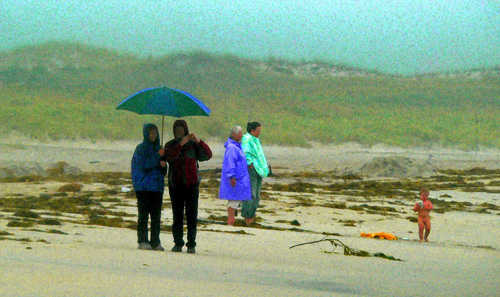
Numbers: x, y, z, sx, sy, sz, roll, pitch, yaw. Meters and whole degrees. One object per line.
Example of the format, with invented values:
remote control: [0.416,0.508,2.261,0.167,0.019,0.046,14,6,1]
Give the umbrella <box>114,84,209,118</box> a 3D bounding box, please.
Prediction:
umbrella: [-6.518,-3.626,59.278,6.064,2.274,1.389,2,9,6]

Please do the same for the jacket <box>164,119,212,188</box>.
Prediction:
jacket: [-4.876,1.013,59.029,3.130,3.842,0.909,0,9,-9]

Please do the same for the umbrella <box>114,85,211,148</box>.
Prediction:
umbrella: [-7.030,-2.704,61.126,5.698,3.391,5.311,1,-2,-14]
